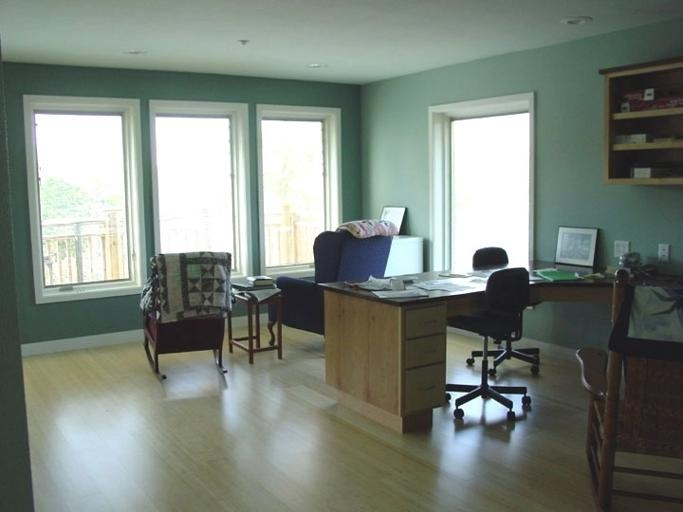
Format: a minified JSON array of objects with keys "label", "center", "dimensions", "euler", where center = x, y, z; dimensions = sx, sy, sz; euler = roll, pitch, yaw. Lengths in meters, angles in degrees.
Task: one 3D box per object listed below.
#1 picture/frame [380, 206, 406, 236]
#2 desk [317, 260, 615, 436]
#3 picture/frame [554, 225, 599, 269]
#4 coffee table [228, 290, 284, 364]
[{"label":"picture/frame","center":[0.618,-0.422,6.620],"dimensions":[0.045,0.400,0.409],"euler":[6,3,-36]},{"label":"desk","center":[0.488,0.671,4.354],"dimensions":[0.973,0.961,0.975],"euler":[-10,13,-41]},{"label":"picture/frame","center":[2.241,-0.092,5.285],"dimensions":[0.038,0.368,0.369],"euler":[7,5,-37]},{"label":"coffee table","center":[-0.889,0.742,5.765],"dimensions":[0.354,0.622,0.645],"euler":[-4,8,-26]}]
